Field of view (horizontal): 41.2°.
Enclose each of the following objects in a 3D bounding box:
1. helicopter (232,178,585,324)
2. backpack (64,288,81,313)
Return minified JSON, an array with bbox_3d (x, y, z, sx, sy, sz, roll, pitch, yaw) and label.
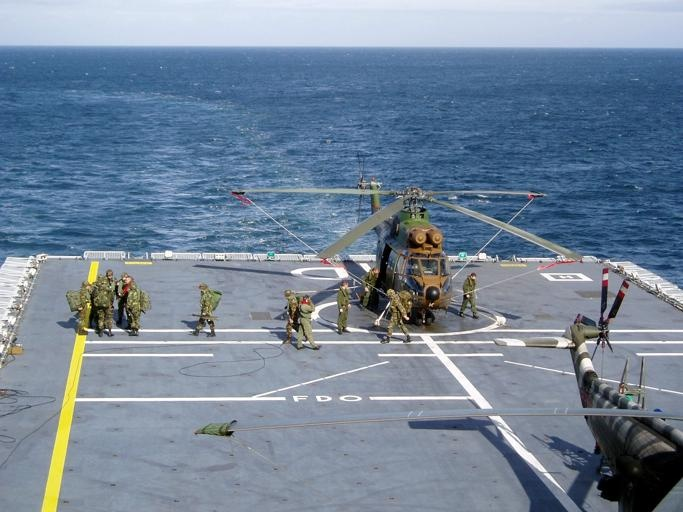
[{"bbox_3d":[4.205,-0.214,56.896,14.146,6.223,21.602,-11,18,-42],"label":"helicopter"},{"bbox_3d":[-12.394,2.138,42.215,0.588,0.939,0.596,-4,19,-14],"label":"backpack"}]
